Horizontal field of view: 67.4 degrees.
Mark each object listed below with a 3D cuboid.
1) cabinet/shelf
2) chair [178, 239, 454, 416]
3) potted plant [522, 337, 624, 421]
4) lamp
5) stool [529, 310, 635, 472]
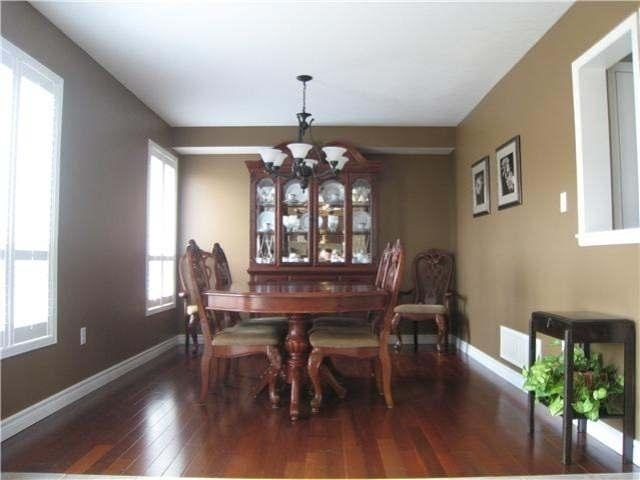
[{"bbox_3d":[-0.073,-0.290,5.556,1.646,2.138,0.424,0,-5,-4],"label":"cabinet/shelf"},{"bbox_3d":[-0.146,0.689,3.978,1.528,1.160,1.296,-2,-2,15],"label":"chair"},{"bbox_3d":[1.574,0.880,2.970,0.474,0.244,0.517,1,-3,-3],"label":"potted plant"},{"bbox_3d":[-0.160,-1.047,4.565,0.847,1.064,0.893,0,0,44],"label":"lamp"},{"bbox_3d":[1.644,0.893,3.011,0.574,0.841,0.564,1,4,15],"label":"stool"}]
